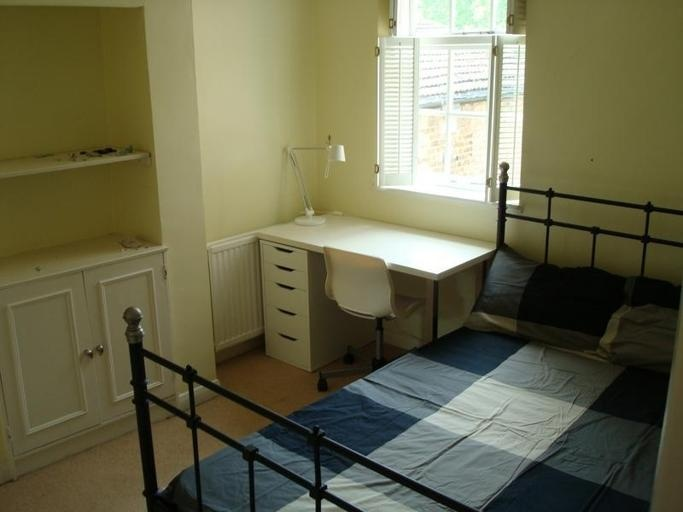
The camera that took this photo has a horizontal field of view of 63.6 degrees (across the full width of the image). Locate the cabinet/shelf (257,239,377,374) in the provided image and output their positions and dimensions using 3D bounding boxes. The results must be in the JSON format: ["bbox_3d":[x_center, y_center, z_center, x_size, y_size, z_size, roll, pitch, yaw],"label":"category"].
[{"bbox_3d":[-0.279,0.237,4.170,0.579,1.124,0.962,16,27,41],"label":"cabinet/shelf"}]

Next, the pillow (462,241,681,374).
[{"bbox_3d":[1.264,0.283,3.058,1.020,0.372,0.383,10,21,30],"label":"pillow"}]

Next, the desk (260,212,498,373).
[{"bbox_3d":[0.329,-0.068,3.633,1.528,0.772,0.801,12,19,39],"label":"desk"}]

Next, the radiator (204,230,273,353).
[{"bbox_3d":[-0.741,0.214,3.885,0.079,0.818,0.692,11,21,33],"label":"radiator"}]
